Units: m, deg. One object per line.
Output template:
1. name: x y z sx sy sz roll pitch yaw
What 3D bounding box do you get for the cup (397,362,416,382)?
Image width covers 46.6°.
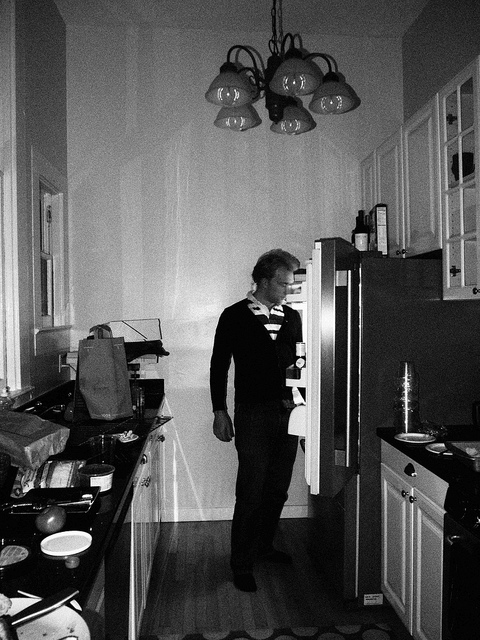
1. cup: 0.649 0.200 2.167 0.050 0.072 0.063 1 -4 -1

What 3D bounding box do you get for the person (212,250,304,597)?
1. person: 0.094 0.420 2.614 0.441 1.527 0.455 0 1 -6

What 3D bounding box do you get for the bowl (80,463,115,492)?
1. bowl: -0.396 0.433 1.540 0.093 0.052 0.145 -1 1 -17

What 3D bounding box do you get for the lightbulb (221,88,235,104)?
1. lightbulb: -0.049 -0.912 2.269 0.041 0.034 0.041 -5 1 -42

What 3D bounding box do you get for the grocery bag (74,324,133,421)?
1. grocery bag: -0.598 0.258 2.465 0.278 0.476 0.271 -17 -20 34

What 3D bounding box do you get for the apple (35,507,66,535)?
1. apple: -0.414 0.422 1.189 0.041 0.031 0.053 -2 36 1

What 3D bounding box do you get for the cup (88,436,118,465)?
1. cup: -0.427 0.394 1.719 0.061 0.091 0.075 0 -1 8

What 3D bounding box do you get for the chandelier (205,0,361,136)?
1. chandelier: 0.180 -1.291 2.811 0.532 0.801 0.521 12 18 33

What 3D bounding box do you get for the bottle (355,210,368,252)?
1. bottle: 0.597 -0.413 2.738 0.052 0.276 0.061 -3 -17 20
